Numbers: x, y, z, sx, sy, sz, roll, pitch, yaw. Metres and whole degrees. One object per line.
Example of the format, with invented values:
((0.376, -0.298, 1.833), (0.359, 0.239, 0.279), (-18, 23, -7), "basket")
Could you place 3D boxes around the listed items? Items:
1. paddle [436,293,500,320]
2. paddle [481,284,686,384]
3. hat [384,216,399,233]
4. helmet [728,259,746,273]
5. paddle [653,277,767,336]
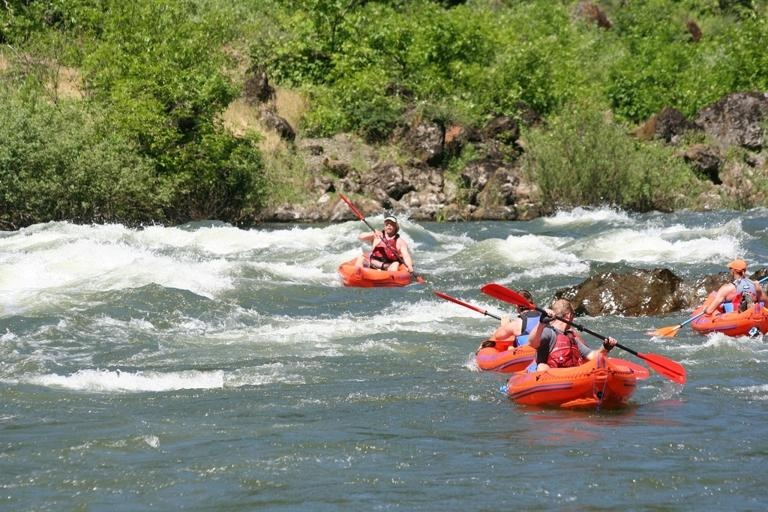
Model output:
((2.493, 1.563, 45.540), (2.289, 0.155, 0.107), (17, 35, -4), "paddle")
((5.687, 2.336, 43.245), (7.403, 0.251, 0.741), (17, 51, 5), "paddle")
((0.236, -0.964, 48.906), (0.338, 0.509, 0.723), (-7, 7, 6), "hat")
((10.264, 0.296, 44.755), (0.381, 0.210, 0.460), (-7, 22, -27), "helmet")
((9.564, 1.583, 44.833), (3.365, 0.244, 0.527), (-22, 46, -7), "paddle")
